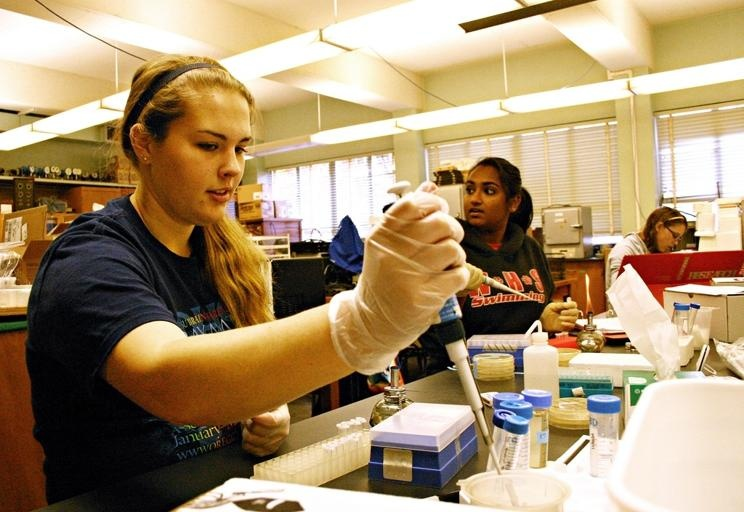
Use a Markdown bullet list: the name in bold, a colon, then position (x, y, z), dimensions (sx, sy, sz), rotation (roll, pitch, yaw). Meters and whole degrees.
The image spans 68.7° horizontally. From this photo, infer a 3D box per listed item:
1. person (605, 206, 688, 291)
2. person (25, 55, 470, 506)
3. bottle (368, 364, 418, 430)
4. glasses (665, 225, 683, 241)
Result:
- **person**: position (2.121, -0.142, 4.220), dimensions (0.471, 0.446, 1.333), rotation (0, 4, 34)
- **person**: position (-0.304, -0.021, 2.002), dimensions (1.358, 1.923, 1.021), rotation (-1, 8, 9)
- **bottle**: position (0.035, 0.363, 1.418), dimensions (0.165, 0.147, 0.150), rotation (-1, -8, -8)
- **glasses**: position (2.441, -0.173, 4.358), dimensions (0.154, 0.122, 0.082), rotation (-5, 5, -32)
